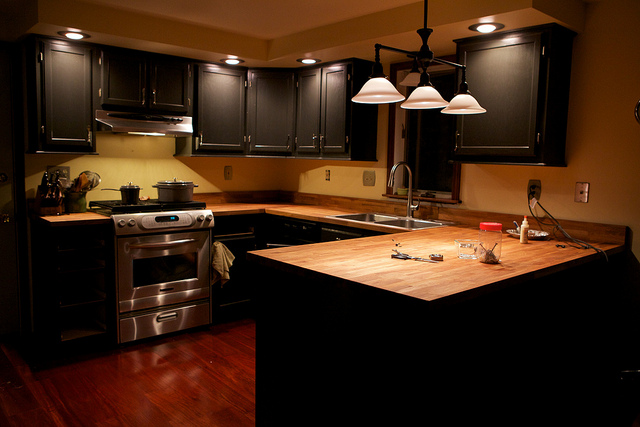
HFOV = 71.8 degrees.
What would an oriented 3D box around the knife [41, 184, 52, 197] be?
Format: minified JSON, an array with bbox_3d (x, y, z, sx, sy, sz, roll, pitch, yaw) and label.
[{"bbox_3d":[-2.398,-0.200,3.890,0.034,0.099,0.089,6,16,23],"label":"knife"}]

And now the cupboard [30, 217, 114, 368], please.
[{"bbox_3d":[-2.230,0.663,4.019,0.711,1.313,0.779,-3,6,-41],"label":"cupboard"}]

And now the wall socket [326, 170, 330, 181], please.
[{"bbox_3d":[0.090,-0.439,5.081,0.052,0.107,0.019,13,20,41],"label":"wall socket"}]

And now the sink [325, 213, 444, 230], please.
[{"bbox_3d":[0.622,0.063,4.287,1.078,0.132,0.486,2,15,9],"label":"sink"}]

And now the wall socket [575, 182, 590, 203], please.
[{"bbox_3d":[2.080,-0.168,3.518,0.099,0.156,0.037,8,17,30],"label":"wall socket"}]

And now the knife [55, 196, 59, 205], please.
[{"bbox_3d":[-2.336,-0.117,3.931,0.010,0.058,0.039,6,16,24],"label":"knife"}]

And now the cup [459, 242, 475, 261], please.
[{"bbox_3d":[0.974,0.255,2.934,0.113,0.087,0.109,-3,9,0],"label":"cup"}]

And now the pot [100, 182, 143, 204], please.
[{"bbox_3d":[-1.955,-0.196,4.316,0.536,0.243,0.213,0,4,4],"label":"pot"}]

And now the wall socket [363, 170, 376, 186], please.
[{"bbox_3d":[0.528,-0.379,4.717,0.153,0.171,0.020,9,13,43],"label":"wall socket"}]

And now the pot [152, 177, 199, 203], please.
[{"bbox_3d":[-1.425,-0.215,4.343,0.316,0.190,0.253,-1,2,-35],"label":"pot"}]

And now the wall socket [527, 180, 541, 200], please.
[{"bbox_3d":[1.793,-0.203,3.709,0.107,0.158,0.045,8,17,28],"label":"wall socket"}]

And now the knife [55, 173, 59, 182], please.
[{"bbox_3d":[-2.401,-0.327,4.040,0.022,0.091,0.067,10,-33,-41],"label":"knife"}]

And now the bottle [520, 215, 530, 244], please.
[{"bbox_3d":[1.568,0.113,3.384,0.069,0.185,0.260,6,17,25],"label":"bottle"}]

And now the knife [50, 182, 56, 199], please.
[{"bbox_3d":[-2.358,-0.209,3.922,0.031,0.123,0.066,-2,15,-3],"label":"knife"}]

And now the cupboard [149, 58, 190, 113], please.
[{"bbox_3d":[-1.577,-1.242,4.540,0.430,0.610,0.431,3,-3,-32],"label":"cupboard"}]

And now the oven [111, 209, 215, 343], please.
[{"bbox_3d":[-1.552,0.547,4.560,1.103,1.460,1.024,-1,0,-35],"label":"oven"}]

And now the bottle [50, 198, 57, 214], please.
[{"bbox_3d":[-2.352,-0.067,3.907,0.049,0.131,0.051,-1,15,0],"label":"bottle"}]

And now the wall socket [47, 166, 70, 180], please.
[{"bbox_3d":[-2.490,-0.390,4.192,0.163,0.150,0.039,2,0,-37],"label":"wall socket"}]

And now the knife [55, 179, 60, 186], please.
[{"bbox_3d":[-2.363,-0.282,3.982,0.037,0.050,0.015,8,-32,-24],"label":"knife"}]

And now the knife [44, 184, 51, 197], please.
[{"bbox_3d":[-2.397,-0.198,3.886,0.023,0.096,0.057,10,18,35],"label":"knife"}]

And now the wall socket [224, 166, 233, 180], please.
[{"bbox_3d":[-1.079,-0.480,5.212,0.027,0.159,0.109,13,20,42],"label":"wall socket"}]
